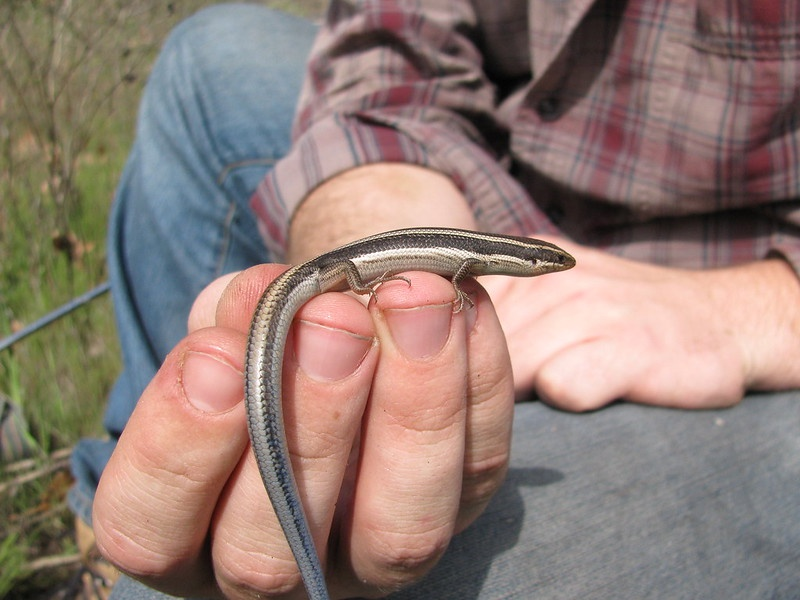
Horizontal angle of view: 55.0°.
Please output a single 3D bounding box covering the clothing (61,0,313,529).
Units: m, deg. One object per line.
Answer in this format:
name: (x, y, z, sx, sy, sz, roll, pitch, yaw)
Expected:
clothing: (-0.979, -0.554, 3.568, 0.765, 0.701, 2.842, -2, 72, 55)
